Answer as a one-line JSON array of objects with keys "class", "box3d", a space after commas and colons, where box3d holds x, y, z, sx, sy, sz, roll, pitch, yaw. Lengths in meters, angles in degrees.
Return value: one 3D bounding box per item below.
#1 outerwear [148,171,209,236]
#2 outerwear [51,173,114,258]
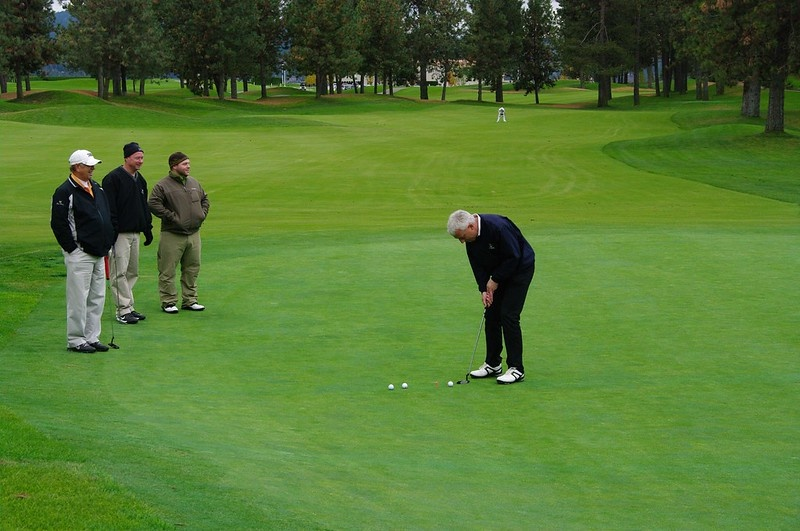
[{"class": "outerwear", "box3d": [-4.028, -1.145, 16.903, 1.098, 1.152, 0.442, -4, 11, -23]}, {"class": "outerwear", "box3d": [-5.102, -0.804, 14.951, 0.957, 1.332, 0.444, -5, 12, -27]}]
